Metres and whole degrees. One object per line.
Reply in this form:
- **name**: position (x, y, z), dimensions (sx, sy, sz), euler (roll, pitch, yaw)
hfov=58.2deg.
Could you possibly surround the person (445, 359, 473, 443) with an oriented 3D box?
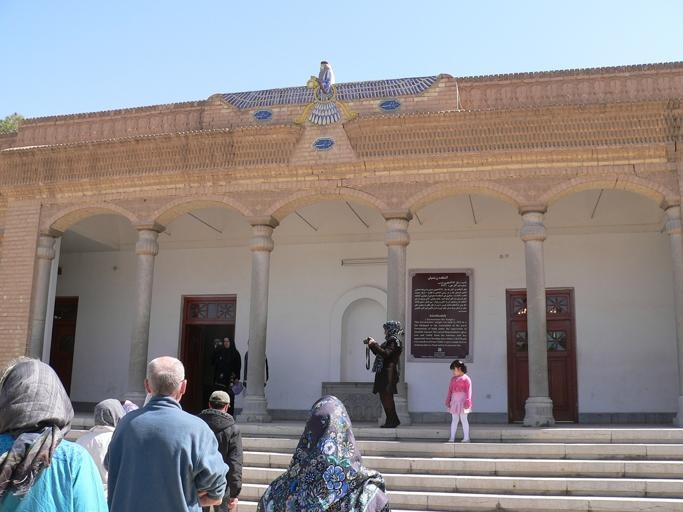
- **person**: position (1.750, 2.159, 9.183), dimensions (0.330, 1.155, 0.759), euler (-1, -10, 10)

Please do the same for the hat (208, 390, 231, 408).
- **hat**: position (-1.220, 1.444, 6.231), dimensions (0.228, 0.169, 0.329), euler (3, -8, -2)
